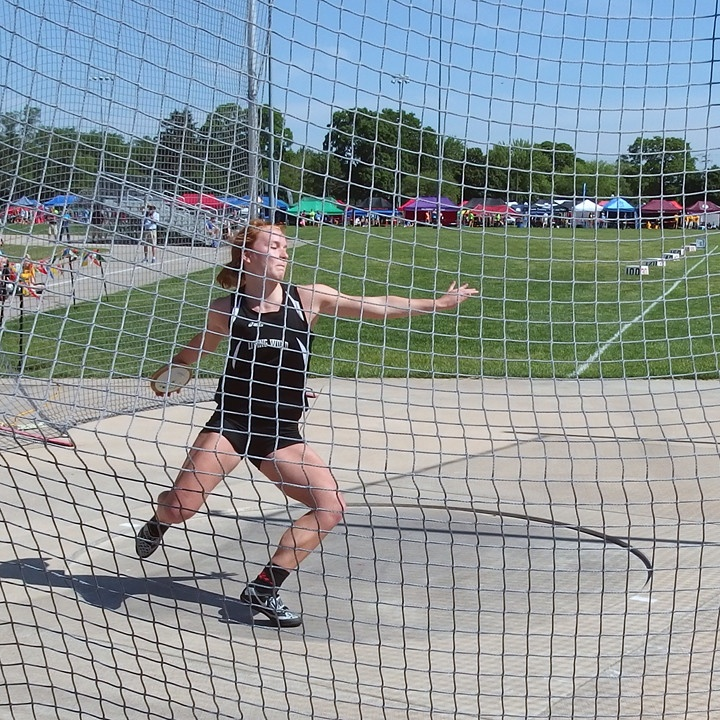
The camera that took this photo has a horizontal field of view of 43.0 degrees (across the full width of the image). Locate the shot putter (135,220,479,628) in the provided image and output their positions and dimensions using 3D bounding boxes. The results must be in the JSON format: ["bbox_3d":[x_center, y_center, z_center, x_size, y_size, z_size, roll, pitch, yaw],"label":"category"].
[{"bbox_3d":[-0.389,0.243,4.190,1.174,1.775,0.876,7,4,10],"label":"shot putter"}]

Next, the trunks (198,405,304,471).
[{"bbox_3d":[-0.487,0.325,4.229,0.519,0.225,0.230,10,-16,4],"label":"trunks"}]

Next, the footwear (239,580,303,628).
[{"bbox_3d":[-0.384,1.056,4.009,0.259,0.178,0.240,4,3,-9],"label":"footwear"}]

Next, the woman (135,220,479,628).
[{"bbox_3d":[-0.378,0.243,4.194,1.183,1.775,0.885,7,4,8],"label":"woman"}]
